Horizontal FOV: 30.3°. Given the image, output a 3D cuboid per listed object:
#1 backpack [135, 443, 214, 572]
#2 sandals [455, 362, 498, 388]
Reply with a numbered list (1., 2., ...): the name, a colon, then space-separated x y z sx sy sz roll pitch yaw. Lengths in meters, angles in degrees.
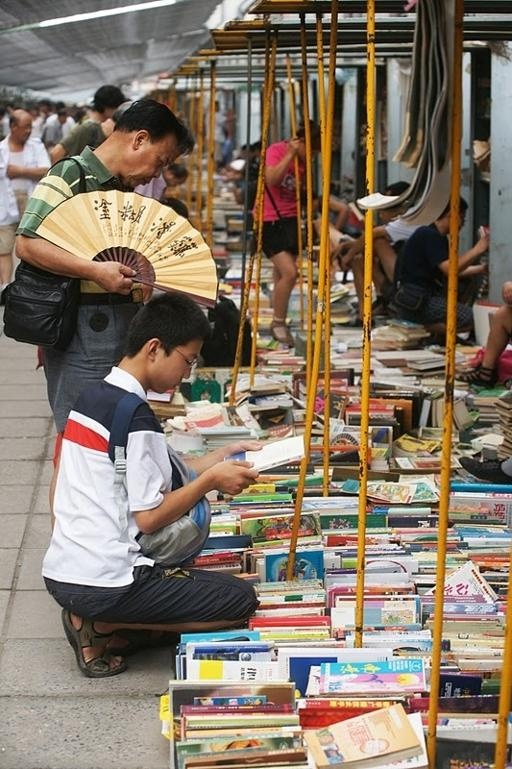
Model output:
1. backpack: -0.237 0.357 2.684 0.223 0.365 0.270 -3 32 -5
2. sandals: 1.411 -0.067 5.981 0.239 0.090 0.102 11 14 41
